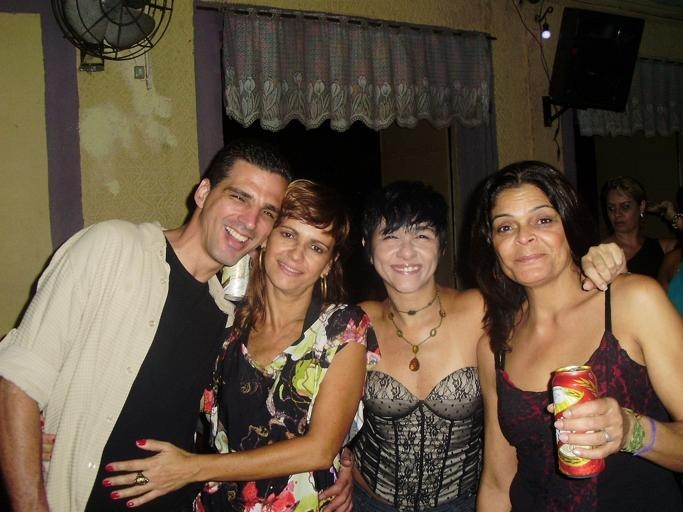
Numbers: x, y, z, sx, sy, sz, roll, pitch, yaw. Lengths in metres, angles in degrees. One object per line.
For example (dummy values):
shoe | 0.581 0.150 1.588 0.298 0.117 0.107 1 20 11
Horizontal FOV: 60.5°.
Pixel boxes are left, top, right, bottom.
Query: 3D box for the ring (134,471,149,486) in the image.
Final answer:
ring | -0.950 1.054 2.774 0.057 0.061 0.026 -4 10 -7

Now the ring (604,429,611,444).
ring | 1.148 0.778 2.530 0.009 0.040 0.038 -5 10 5

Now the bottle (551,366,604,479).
bottle | 1.048 0.731 2.583 0.222 0.500 0.126 -1 5 1

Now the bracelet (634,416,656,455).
bracelet | 1.369 0.809 2.648 0.128 0.135 0.032 24 -12 -30

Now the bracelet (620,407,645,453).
bracelet | 1.289 0.774 2.598 0.073 0.185 0.145 5 46 43
